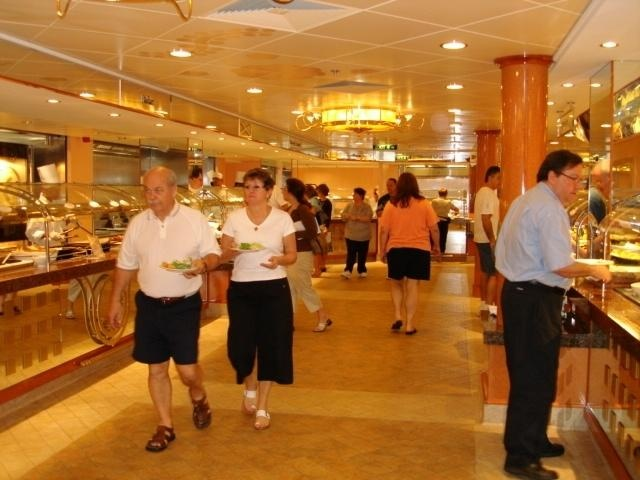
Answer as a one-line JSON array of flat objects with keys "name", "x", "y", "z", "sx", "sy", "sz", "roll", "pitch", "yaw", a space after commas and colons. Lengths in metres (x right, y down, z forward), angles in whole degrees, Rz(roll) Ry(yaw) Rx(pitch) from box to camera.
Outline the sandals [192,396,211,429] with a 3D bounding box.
[{"name": "sandals", "x": -0.940, "y": 1.365, "z": 3.710, "sx": 0.133, "sy": 0.098, "sz": 0.287, "roll": -3, "pitch": 12, "yaw": -21}]

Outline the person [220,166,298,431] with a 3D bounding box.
[{"name": "person", "x": -0.481, "y": 0.290, "z": 3.667, "sx": 0.566, "sy": 1.662, "sz": 0.313, "roll": 1, "pitch": 5, "yaw": -4}]

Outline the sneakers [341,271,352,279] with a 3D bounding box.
[{"name": "sneakers", "x": 0.633, "y": 0.820, "z": 11.000, "sx": 0.222, "sy": 0.177, "sz": 0.260, "roll": 1, "pitch": 5, "yaw": -1}]

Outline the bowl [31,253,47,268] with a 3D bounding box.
[{"name": "bowl", "x": -2.550, "y": 0.190, "z": 4.284, "sx": 0.150, "sy": 0.088, "sz": 0.131, "roll": 0, "pitch": 6, "yaw": -6}]

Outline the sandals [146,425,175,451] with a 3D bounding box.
[{"name": "sandals", "x": -1.153, "y": 1.438, "z": 3.389, "sx": 0.113, "sy": 0.084, "sz": 0.223, "roll": 0, "pitch": -5, "yaw": 3}]

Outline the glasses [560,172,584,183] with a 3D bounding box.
[{"name": "glasses", "x": 1.640, "y": -0.401, "z": 3.028, "sx": 0.186, "sy": 0.058, "sz": 0.061, "roll": -2, "pitch": 6, "yaw": -33}]

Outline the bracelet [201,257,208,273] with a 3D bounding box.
[{"name": "bracelet", "x": -0.812, "y": 0.187, "z": 3.305, "sx": 0.031, "sy": 0.069, "sz": 0.072, "roll": -11, "pitch": 18, "yaw": -32}]

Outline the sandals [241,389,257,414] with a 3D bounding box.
[{"name": "sandals", "x": -0.584, "y": 1.354, "z": 3.942, "sx": 0.098, "sy": 0.094, "sz": 0.254, "roll": 3, "pitch": 12, "yaw": -4}]

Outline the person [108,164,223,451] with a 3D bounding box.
[{"name": "person", "x": -1.139, "y": 0.494, "z": 3.432, "sx": 0.716, "sy": 2.027, "sz": 0.550, "roll": 2, "pitch": 5, "yaw": 10}]

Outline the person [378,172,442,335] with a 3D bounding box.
[{"name": "person", "x": 1.219, "y": 0.191, "z": 6.464, "sx": 0.765, "sy": 2.228, "sz": 0.968, "roll": 2, "pitch": 5, "yaw": 13}]

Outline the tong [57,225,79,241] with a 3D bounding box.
[{"name": "tong", "x": -2.690, "y": -0.062, "z": 4.994, "sx": 0.159, "sy": 0.173, "sz": 0.395, "roll": 0, "pitch": 4, "yaw": -7}]

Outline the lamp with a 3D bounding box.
[{"name": "lamp", "x": 0.455, "y": -2.269, "z": 8.875, "sx": 1.164, "sy": 0.229, "sz": 1.162, "roll": 2, "pitch": 3, "yaw": 42}]

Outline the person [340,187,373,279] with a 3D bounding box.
[{"name": "person", "x": 0.890, "y": -0.185, "z": 11.363, "sx": 0.693, "sy": 2.131, "sz": 1.234, "roll": 1, "pitch": 5, "yaw": 5}]
